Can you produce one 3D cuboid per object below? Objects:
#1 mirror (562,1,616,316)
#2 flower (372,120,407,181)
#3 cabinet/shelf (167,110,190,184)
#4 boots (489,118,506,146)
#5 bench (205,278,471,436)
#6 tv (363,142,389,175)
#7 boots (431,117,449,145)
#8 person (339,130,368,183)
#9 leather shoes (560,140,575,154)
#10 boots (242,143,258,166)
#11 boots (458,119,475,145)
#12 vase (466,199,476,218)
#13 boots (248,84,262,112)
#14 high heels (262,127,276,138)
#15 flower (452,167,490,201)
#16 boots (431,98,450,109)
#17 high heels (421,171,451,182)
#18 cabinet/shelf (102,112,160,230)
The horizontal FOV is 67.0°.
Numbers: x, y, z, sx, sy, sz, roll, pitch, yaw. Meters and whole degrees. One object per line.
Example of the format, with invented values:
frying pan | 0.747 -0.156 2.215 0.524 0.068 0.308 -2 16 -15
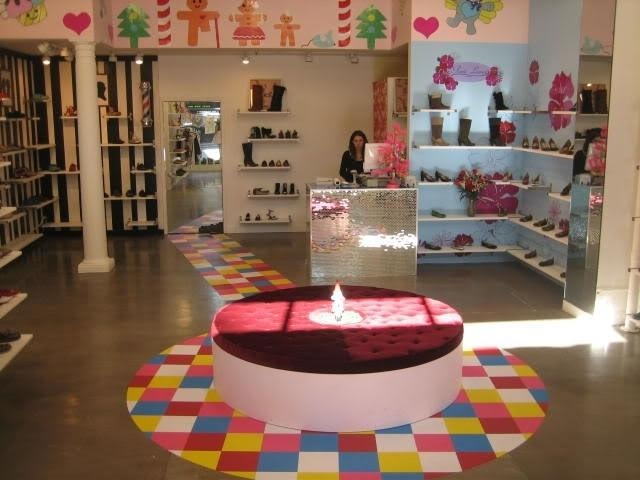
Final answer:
mirror | 3.119 -0.893 5.591 0.362 3.601 0.743 4 17 27
flower | 1.185 -1.439 7.955 0.539 0.911 1.415 -1 15 11
cabinet/shelf | -2.966 -2.031 10.165 0.399 1.420 1.288 0 10 -6
boots | 2.835 -1.740 7.762 0.191 0.443 0.199 -3 15 4
bench | 0.140 0.914 4.189 2.152 0.925 1.226 -4 15 -1
tv | 0.862 -1.287 7.796 0.520 0.494 0.423 5 4 4
boots | 1.873 -1.727 7.697 0.168 0.437 0.246 -13 17 -30
person | 0.592 -1.493 8.642 0.477 0.860 0.899 -2 15 5
leather shoes | 3.396 -1.262 6.619 0.137 0.149 0.404 5 9 34
boots | -1.493 -1.806 10.224 0.276 0.506 0.233 -6 15 -8
boots | 2.341 -1.736 7.770 0.228 0.428 0.283 -1 15 9
vase | 2.515 -0.553 8.053 0.155 0.288 0.381 1 15 17
boots | -1.314 -2.933 10.008 0.335 0.554 0.149 -5 15 -6
high heels | -1.090 -2.248 10.199 0.276 0.226 0.204 -7 15 -15
flower | 2.458 -0.905 7.915 0.586 0.520 0.406 -2 15 6
boots | 1.917 -2.162 7.665 0.363 0.194 0.218 -8 15 -18
high heels | 1.879 -1.047 7.885 0.465 0.195 0.233 -4 15 -4
cabinet/shelf | -4.034 -1.460 10.412 1.208 2.441 0.305 1 6 1
